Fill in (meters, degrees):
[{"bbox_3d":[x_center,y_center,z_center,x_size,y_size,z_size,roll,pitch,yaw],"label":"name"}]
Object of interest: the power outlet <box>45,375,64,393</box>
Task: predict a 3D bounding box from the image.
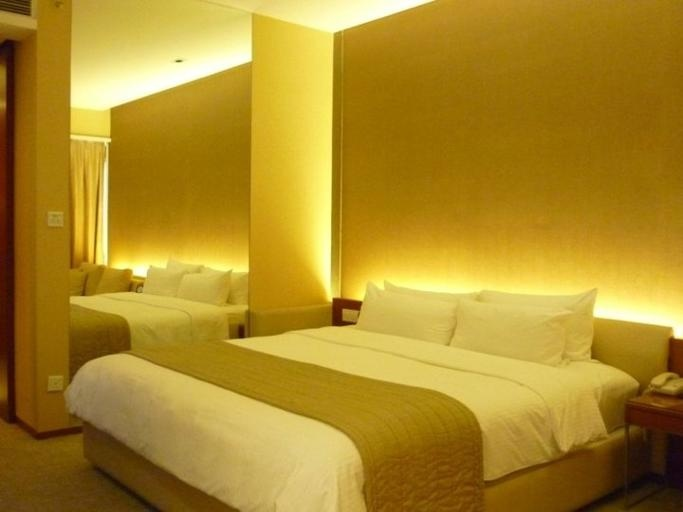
[{"bbox_3d":[-2.205,0.972,4.140,0.019,0.144,0.131,4,0,44],"label":"power outlet"}]
